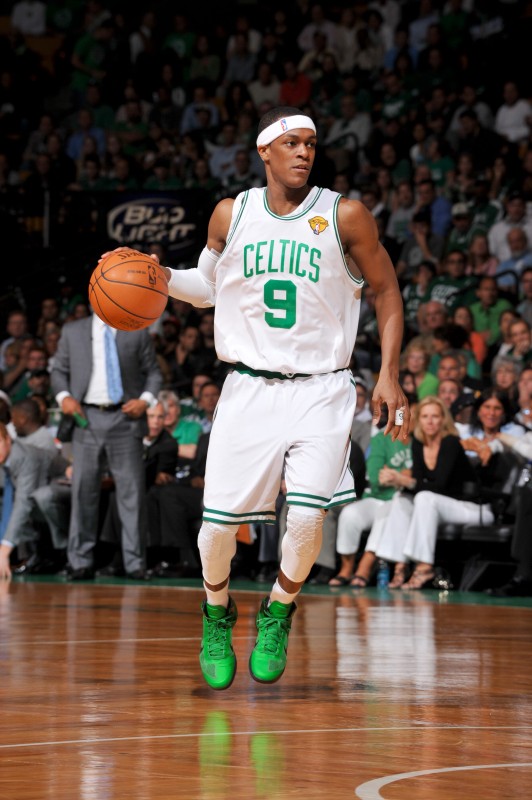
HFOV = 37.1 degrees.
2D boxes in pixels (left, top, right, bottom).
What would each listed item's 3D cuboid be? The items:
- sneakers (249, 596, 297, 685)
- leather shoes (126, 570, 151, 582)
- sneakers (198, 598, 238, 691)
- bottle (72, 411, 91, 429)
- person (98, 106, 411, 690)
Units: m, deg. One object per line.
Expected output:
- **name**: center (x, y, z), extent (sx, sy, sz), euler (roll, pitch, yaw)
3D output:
- **sneakers**: center (0.028, 0.806, 2.706), extent (0.110, 0.137, 0.328), euler (11, 27, -3)
- **leather shoes**: center (-1.125, 1.545, 6.964), extent (0.226, 0.085, 0.079), euler (0, 0, 13)
- **sneakers**: center (-0.156, 0.825, 2.665), extent (0.102, 0.123, 0.283), euler (-2, 39, 1)
- **bottle**: center (-1.620, 0.180, 6.931), extent (0.169, 0.147, 0.085), euler (20, 25, 41)
- **person**: center (0.057, 0.089, 2.774), extent (0.823, 2.110, 1.000), euler (1, 19, -8)
